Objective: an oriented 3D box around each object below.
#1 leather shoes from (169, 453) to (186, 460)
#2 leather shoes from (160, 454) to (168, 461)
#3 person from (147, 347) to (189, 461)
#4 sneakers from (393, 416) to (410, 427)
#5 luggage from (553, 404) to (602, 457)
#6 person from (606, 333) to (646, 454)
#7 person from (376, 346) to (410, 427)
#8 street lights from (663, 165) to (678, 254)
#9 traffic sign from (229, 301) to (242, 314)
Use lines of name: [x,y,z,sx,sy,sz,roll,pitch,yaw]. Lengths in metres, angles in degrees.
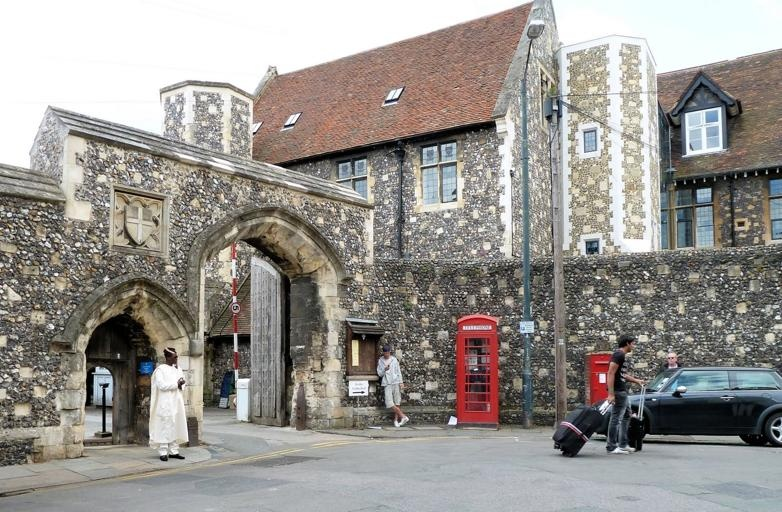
leather shoes: [-5.139,4.810,24.295,0.412,0.148,0.138,2,0,-15]
leather shoes: [-5.412,4.795,24.101,0.174,0.140,0.252,-1,3,-1]
person: [-5.364,3.538,24.231,0.885,2.641,0.563,-3,4,-22]
sneakers: [0.315,4.916,30.027,0.511,0.198,0.186,-37,-6,-20]
luggage: [4.427,4.136,23.919,1.148,1.136,0.592,-1,4,8]
person: [5.471,3.294,24.098,0.693,2.800,0.624,0,4,12]
person: [0.013,3.863,30.105,0.844,2.380,0.615,-1,4,2]
street lights: [11.353,-1.977,41.000,0.443,3.254,0.484,0,4,14]
traffic sign: [-5.742,1.896,37.418,0.547,0.523,0.094,15,-23,-29]
